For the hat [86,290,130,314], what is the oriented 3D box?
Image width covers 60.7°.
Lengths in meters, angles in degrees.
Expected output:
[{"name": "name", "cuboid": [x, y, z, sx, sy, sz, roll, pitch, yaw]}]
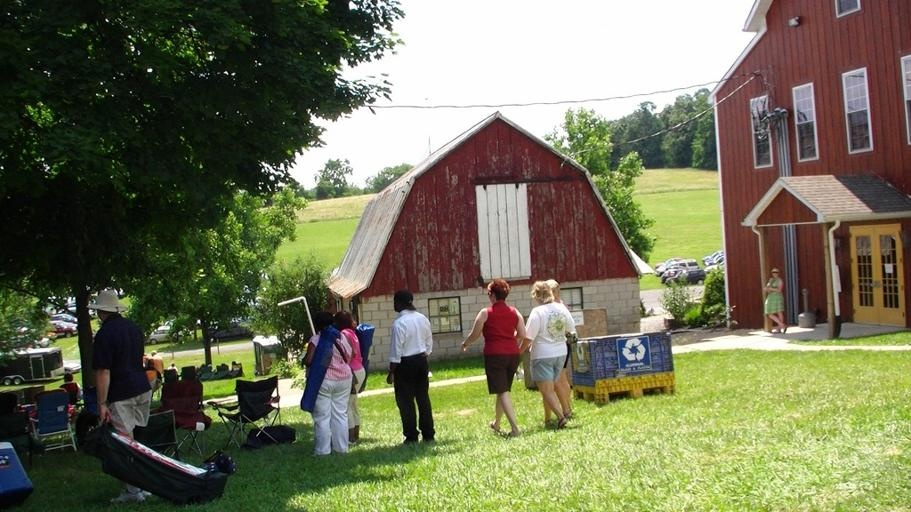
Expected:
[{"name": "hat", "cuboid": [-6.602, 0.842, 14.642, 0.592, 0.255, 0.542, 2, 5, 31]}]

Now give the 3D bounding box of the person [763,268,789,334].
[{"name": "person", "cuboid": [10.719, 1.497, 26.167, 0.664, 1.480, 1.310, -7, -5, 24]}]

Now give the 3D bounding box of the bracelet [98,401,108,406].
[{"name": "bracelet", "cuboid": [-6.457, 2.685, 14.319, 0.125, 0.085, 0.201, -10, -7, 43]}]

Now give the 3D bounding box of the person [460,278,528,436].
[{"name": "person", "cuboid": [0.939, 2.086, 16.439, 1.136, 3.255, 1.349, -5, -5, 0]}]

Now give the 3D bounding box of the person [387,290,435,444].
[{"name": "person", "cuboid": [-0.962, 2.304, 16.569, 0.966, 3.228, 0.905, -5, -5, -4]}]

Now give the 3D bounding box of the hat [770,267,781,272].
[{"name": "hat", "cuboid": [10.700, 0.455, 26.054, 0.343, 0.183, 0.423, 2, -3, 9]}]

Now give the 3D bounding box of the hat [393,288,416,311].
[{"name": "hat", "cuboid": [-1.085, 0.939, 16.508, 0.414, 0.435, 0.434, -5, -5, -2]}]
